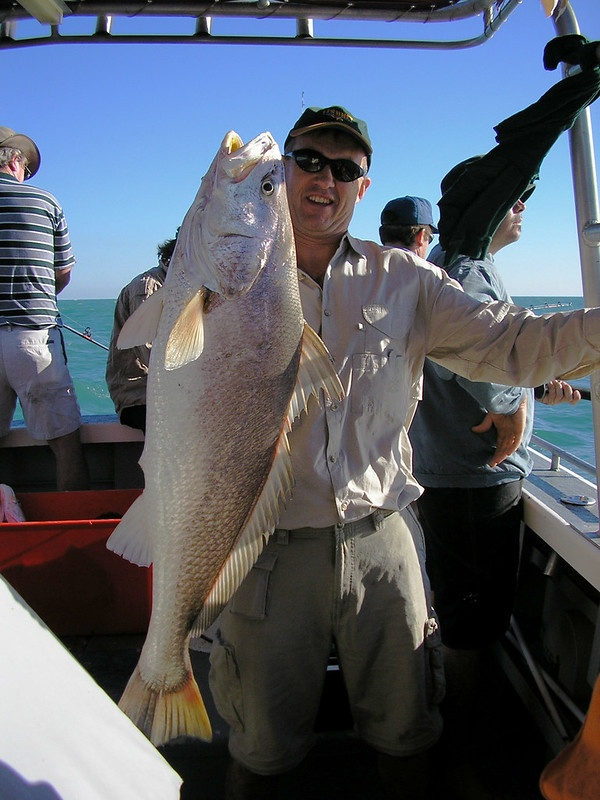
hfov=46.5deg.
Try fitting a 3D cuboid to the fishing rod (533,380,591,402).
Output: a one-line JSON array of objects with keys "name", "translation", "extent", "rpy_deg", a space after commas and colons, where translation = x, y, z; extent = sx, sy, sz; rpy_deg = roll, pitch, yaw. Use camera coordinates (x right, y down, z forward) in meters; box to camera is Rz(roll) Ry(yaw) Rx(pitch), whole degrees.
[{"name": "fishing rod", "translation": [0.839, -0.029, 2.254], "extent": [0.041, 0.042, 0.157], "rpy_deg": [45, -13, -28]}]

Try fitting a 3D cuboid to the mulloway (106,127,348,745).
[{"name": "mulloway", "translation": [-0.181, 0.087, 1.509], "extent": [0.236, 1.307, 0.437], "rpy_deg": [8, 14, 30]}]

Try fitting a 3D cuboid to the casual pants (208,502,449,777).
[{"name": "casual pants", "translation": [0.064, 0.639, 1.818], "extent": [0.614, 0.743, 0.295], "rpy_deg": [-3, -3, -12]}]
